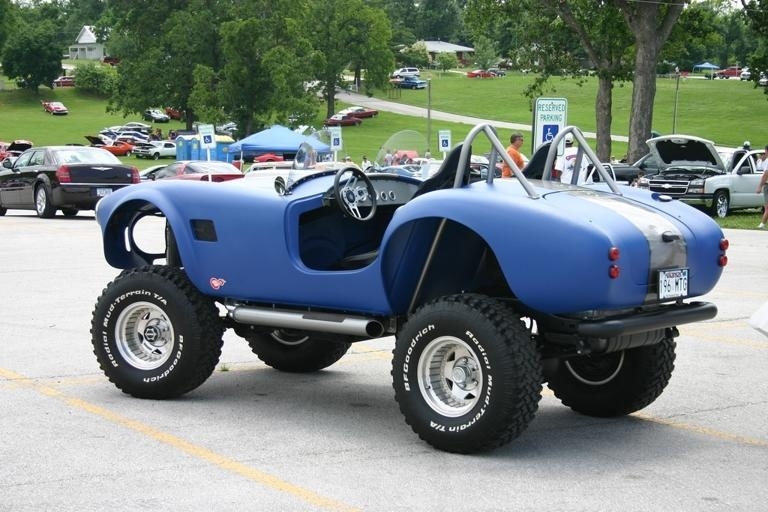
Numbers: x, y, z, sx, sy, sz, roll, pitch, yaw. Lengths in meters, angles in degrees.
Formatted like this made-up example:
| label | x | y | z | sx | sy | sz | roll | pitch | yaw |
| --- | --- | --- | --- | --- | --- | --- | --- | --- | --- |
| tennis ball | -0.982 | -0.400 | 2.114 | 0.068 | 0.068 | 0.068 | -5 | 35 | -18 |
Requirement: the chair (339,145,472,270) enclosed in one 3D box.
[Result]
| label | x | y | z | sx | sy | sz | roll | pitch | yaw |
| --- | --- | --- | --- | --- | --- | --- | --- | --- | --- |
| chair | 0.028 | -0.447 | 7.205 | 1.277 | 1.007 | 0.757 | 0 | 5 | -17 |

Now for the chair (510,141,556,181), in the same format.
| label | x | y | z | sx | sy | sz | roll | pitch | yaw |
| --- | --- | --- | --- | --- | --- | --- | --- | --- | --- |
| chair | 1.325 | -0.802 | 7.511 | 0.262 | 0.324 | 0.332 | -1 | 11 | -17 |

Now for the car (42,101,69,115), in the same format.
| label | x | y | z | sx | sy | sz | roll | pitch | yaw |
| --- | --- | --- | --- | --- | --- | --- | --- | --- | --- |
| car | -36.550 | -16.151 | 95.773 | 2.102 | 1.219 | 3.840 | -5 | 10 | -35 |

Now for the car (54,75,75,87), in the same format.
| label | x | y | z | sx | sy | sz | roll | pitch | yaw |
| --- | --- | --- | --- | --- | --- | --- | --- | --- | --- |
| car | -43.210 | -23.426 | 117.206 | 1.781 | 1.203 | 2.691 | -1 | -3 | 37 |

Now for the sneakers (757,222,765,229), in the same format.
| label | x | y | z | sx | sy | sz | roll | pitch | yaw |
| --- | --- | --- | --- | --- | --- | --- | --- | --- | --- |
| sneakers | 9.811 | -0.763 | 22.544 | 0.126 | 0.140 | 0.343 | -1 | 11 | -9 |

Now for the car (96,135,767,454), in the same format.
| label | x | y | z | sx | sy | sz | roll | pitch | yaw |
| --- | --- | --- | --- | --- | --- | --- | --- | --- | --- |
| car | 0.122 | 0.202 | 7.707 | 5.137 | 2.224 | 2.655 | 4 | 2 | 30 |

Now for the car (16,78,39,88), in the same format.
| label | x | y | z | sx | sy | sz | roll | pitch | yaw |
| --- | --- | --- | --- | --- | --- | --- | --- | --- | --- |
| car | -44.609 | -21.405 | 108.094 | 2.462 | 1.179 | 1.037 | 4 | 10 | 22 |
